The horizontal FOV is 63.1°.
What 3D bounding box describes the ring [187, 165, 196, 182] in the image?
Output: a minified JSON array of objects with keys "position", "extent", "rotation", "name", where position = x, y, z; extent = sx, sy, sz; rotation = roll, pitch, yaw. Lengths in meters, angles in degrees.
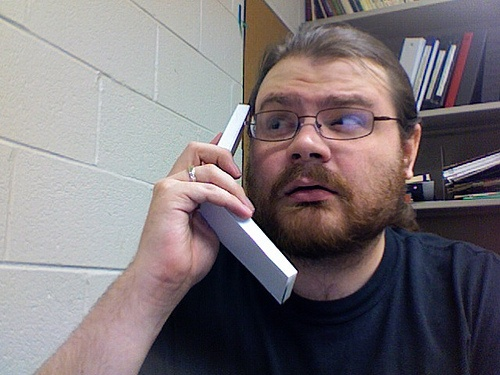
[{"position":[-0.169,-0.040,1.193],"extent":[0.013,0.046,0.033],"rotation":[7,-6,-37],"name":"ring"}]
